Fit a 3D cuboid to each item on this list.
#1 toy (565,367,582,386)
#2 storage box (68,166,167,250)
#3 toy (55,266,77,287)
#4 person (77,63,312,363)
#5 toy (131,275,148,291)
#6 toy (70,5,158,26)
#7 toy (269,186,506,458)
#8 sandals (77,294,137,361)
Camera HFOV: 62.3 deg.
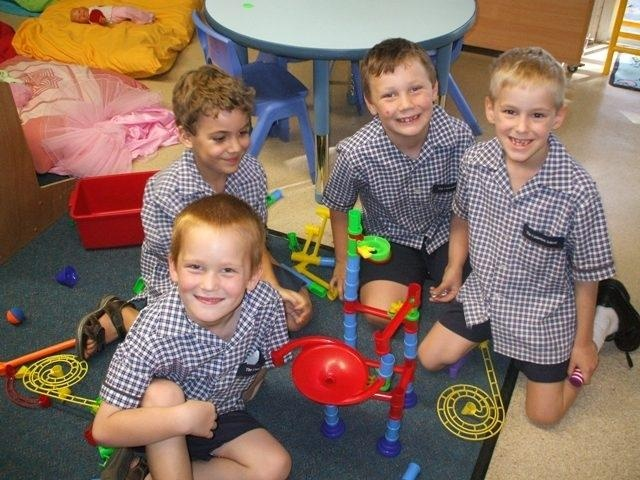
[{"bbox_3d":[0.785,0.433,1.656,0.047,0.046,0.053,-27,39,38],"label":"toy"},{"bbox_3d":[-0.831,-0.121,2.376,0.478,0.207,0.302,-7,56,-4],"label":"storage box"},{"bbox_3d":[-1.041,0.155,2.174,0.046,0.056,0.058,6,49,33],"label":"toy"},{"bbox_3d":[-0.453,-0.100,1.802,0.831,0.947,0.571,-13,31,-35],"label":"person"},{"bbox_3d":[-0.700,0.171,2.059,0.049,0.076,0.028,16,5,31],"label":"toy"},{"bbox_3d":[-1.392,-1.530,3.666,0.560,0.160,0.204,-5,34,-2],"label":"toy"},{"bbox_3d":[0.272,0.271,1.766,0.710,0.540,0.804,9,69,10],"label":"toy"},{"bbox_3d":[-0.764,0.292,1.921,0.087,0.146,0.253,14,50,38],"label":"sandals"}]
